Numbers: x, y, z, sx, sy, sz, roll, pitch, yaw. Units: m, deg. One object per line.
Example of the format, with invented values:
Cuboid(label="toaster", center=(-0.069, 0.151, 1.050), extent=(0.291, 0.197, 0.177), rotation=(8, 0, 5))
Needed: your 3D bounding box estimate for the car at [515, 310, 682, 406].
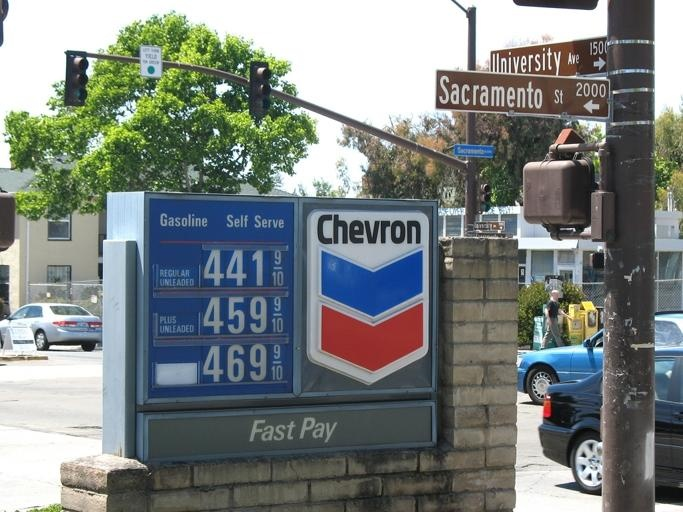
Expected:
Cuboid(label="car", center=(4.336, 1.803, 24.633), extent=(3.282, 1.341, 1.522), rotation=(-3, -5, 35))

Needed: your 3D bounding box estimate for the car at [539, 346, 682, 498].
Cuboid(label="car", center=(3.788, 2.363, 19.747), extent=(2.116, 1.243, 1.220), rotation=(-7, -8, 34))

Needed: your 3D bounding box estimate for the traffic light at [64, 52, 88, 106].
Cuboid(label="traffic light", center=(-5.547, -3.670, 30.231), extent=(0.461, 1.016, 1.003), rotation=(0, -4, -11))

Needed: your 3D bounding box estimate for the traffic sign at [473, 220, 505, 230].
Cuboid(label="traffic sign", center=(1.746, -0.320, 17.031), extent=(0.351, 0.150, 0.213), rotation=(-2, -4, 8))

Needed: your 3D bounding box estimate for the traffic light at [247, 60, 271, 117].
Cuboid(label="traffic light", center=(-1.720, -3.546, 30.571), extent=(0.479, 1.152, 0.640), rotation=(-1, -3, -3))
